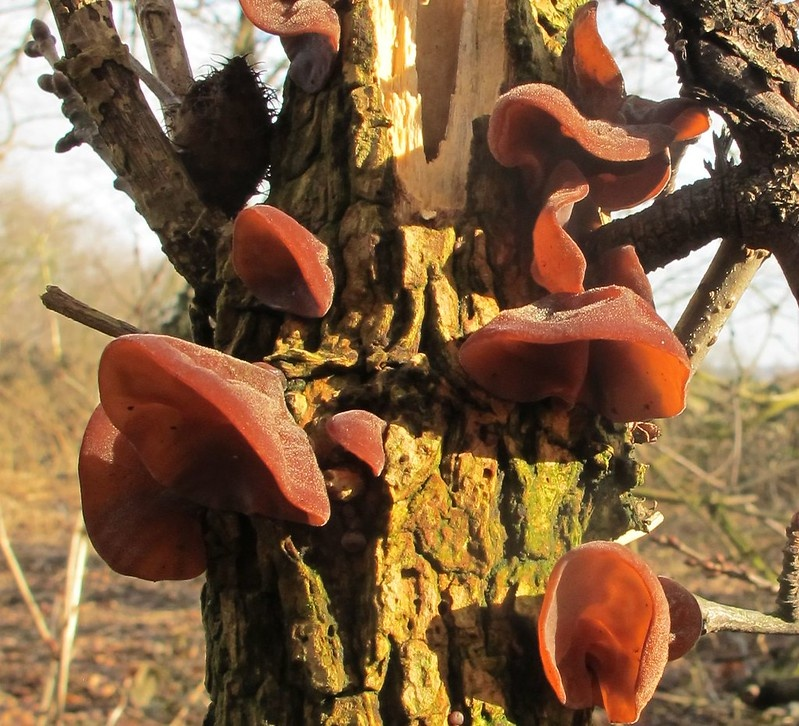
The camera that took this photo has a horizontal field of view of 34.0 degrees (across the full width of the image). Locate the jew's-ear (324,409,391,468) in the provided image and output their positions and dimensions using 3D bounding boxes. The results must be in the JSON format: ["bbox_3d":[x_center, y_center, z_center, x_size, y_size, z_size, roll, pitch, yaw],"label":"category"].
[{"bbox_3d":[-0.151,0.293,4.801,0.233,0.197,0.091,22,-51,-24],"label":"jew's-ear"}]
